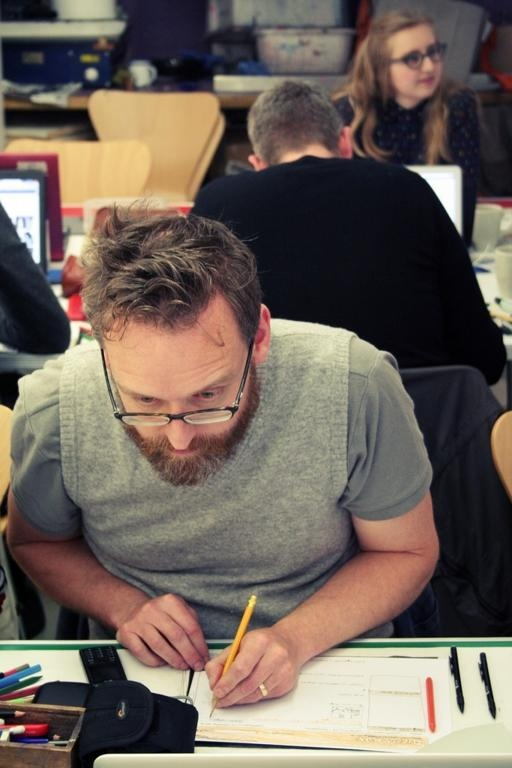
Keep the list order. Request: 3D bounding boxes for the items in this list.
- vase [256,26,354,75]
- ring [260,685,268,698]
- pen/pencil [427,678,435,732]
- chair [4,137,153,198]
[{"bbox_3d":[0.263,-1.810,3.791,0.421,0.148,0.310,1,22,0],"label":"vase"},{"bbox_3d":[0.008,0.331,0.752,0.007,0.013,0.010,-31,55,-23],"label":"ring"},{"bbox_3d":[0.186,0.339,0.740,0.007,0.007,0.067,45,24,-7],"label":"pen/pencil"},{"bbox_3d":[-0.904,-1.157,3.634,0.660,0.361,0.395,-2,48,0],"label":"chair"}]
